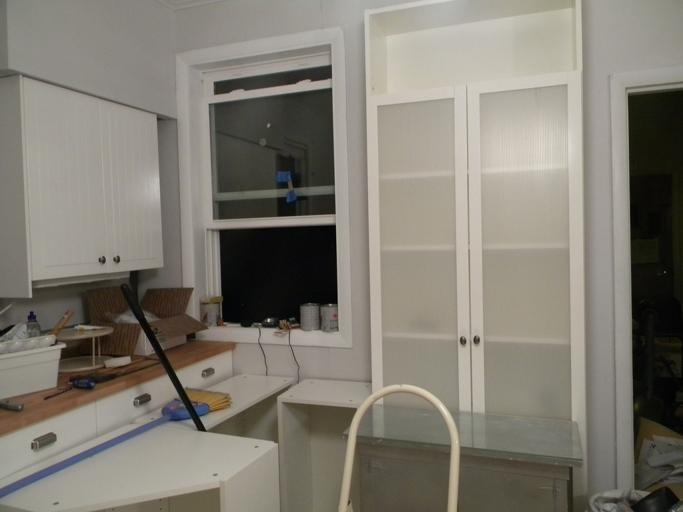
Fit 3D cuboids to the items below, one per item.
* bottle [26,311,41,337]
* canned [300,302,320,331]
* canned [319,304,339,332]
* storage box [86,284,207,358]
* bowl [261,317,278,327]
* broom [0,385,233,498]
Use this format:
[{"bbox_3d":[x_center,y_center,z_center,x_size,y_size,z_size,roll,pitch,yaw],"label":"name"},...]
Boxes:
[{"bbox_3d":[-1.633,0.361,2.853,0.053,0.113,0.162,-7,9,-29],"label":"bottle"},{"bbox_3d":[-0.191,0.386,3.420,0.134,0.166,0.141,0,1,-17],"label":"canned"},{"bbox_3d":[-0.074,0.377,3.307,0.133,0.165,0.142,0,-4,6],"label":"canned"},{"bbox_3d":[-1.171,0.328,3.256,0.465,0.338,0.481,-2,-1,17],"label":"storage box"},{"bbox_3d":[-0.461,0.429,3.504,0.110,0.043,0.143,-4,8,-6],"label":"bowl"},{"bbox_3d":[-1.032,0.729,2.536,0.292,0.084,0.996,-2,6,28],"label":"broom"}]
